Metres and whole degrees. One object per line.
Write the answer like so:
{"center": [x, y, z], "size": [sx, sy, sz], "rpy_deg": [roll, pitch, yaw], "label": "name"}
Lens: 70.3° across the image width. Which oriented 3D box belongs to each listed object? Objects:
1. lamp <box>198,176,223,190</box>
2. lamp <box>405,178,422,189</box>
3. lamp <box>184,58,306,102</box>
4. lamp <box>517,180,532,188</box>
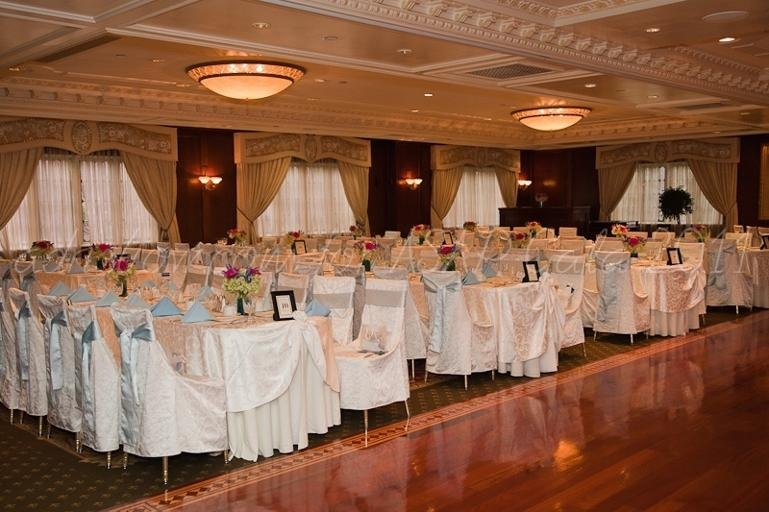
{"center": [-4.779, -2.025, 15.030], "size": [0.555, 0.330, 0.367], "rpy_deg": [-2, -2, -42], "label": "lamp"}
{"center": [1.064, -2.487, 18.654], "size": [0.307, 0.362, 0.708], "rpy_deg": [6, 10, 41], "label": "lamp"}
{"center": [-2.294, -2.912, 9.031], "size": [1.763, 0.531, 0.695], "rpy_deg": [0, 8, 11], "label": "lamp"}
{"center": [5.512, -2.881, 21.668], "size": [0.437, 0.168, 0.428], "rpy_deg": [0, -2, -27], "label": "lamp"}
